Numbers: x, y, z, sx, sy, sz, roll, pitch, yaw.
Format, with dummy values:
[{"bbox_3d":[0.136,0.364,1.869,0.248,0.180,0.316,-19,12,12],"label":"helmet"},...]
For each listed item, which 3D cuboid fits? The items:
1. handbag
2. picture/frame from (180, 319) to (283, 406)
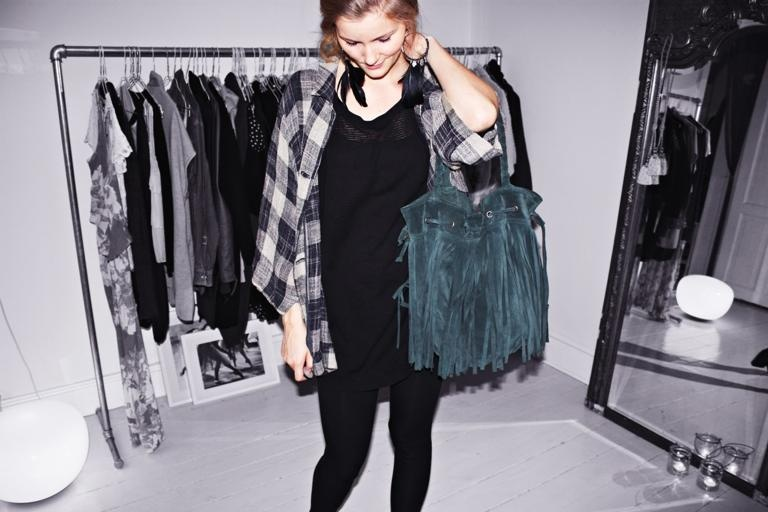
[{"bbox_3d":[0.328,-0.082,1.963,0.565,0.939,0.172,1,-18,-2],"label":"handbag"},{"bbox_3d":[-0.985,0.679,3.353,0.571,0.416,0.021,-13,1,-26],"label":"picture/frame"}]
